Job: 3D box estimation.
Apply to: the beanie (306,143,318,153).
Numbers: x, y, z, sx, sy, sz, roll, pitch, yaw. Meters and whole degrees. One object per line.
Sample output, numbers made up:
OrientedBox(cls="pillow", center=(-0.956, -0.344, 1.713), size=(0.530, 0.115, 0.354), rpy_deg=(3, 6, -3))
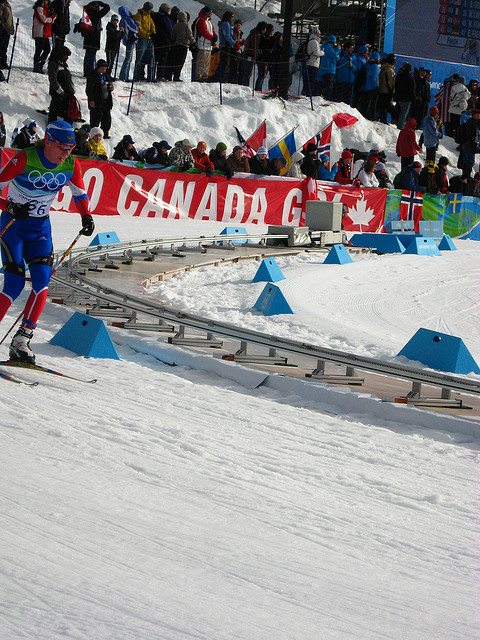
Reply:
OrientedBox(cls="beanie", center=(1.763, -4.233, 18.163), size=(0.194, 0.216, 0.224), rpy_deg=(5, -21, 23))

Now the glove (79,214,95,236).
OrientedBox(cls="glove", center=(-1.193, -0.732, 5.723), size=(0.068, 0.154, 0.124), rpy_deg=(-5, -24, 12))

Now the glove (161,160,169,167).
OrientedBox(cls="glove", center=(-1.541, -3.291, 15.613), size=(0.060, 0.134, 0.147), rpy_deg=(-7, 23, 16))

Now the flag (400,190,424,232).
OrientedBox(cls="flag", center=(4.612, -3.070, 19.895), size=(0.204, 0.760, 0.932), rpy_deg=(20, 16, 39))

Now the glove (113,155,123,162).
OrientedBox(cls="glove", center=(-2.442, -3.272, 15.014), size=(0.189, 0.135, 0.506), rpy_deg=(6, 10, -11))

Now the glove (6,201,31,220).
OrientedBox(cls="glove", center=(-1.506, -0.746, 5.106), size=(0.131, 0.108, 0.182), rpy_deg=(1, 13, -33))

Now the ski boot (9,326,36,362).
OrientedBox(cls="ski boot", center=(-1.571, 0.161, 5.408), size=(0.165, 0.251, 0.204), rpy_deg=(5, 12, -17))

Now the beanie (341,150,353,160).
OrientedBox(cls="beanie", center=(2.669, -4.116, 18.595), size=(0.248, 0.163, 0.225), rpy_deg=(1, 28, 21))

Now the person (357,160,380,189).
OrientedBox(cls="person", center=(3.382, -3.817, 19.457), size=(0.469, 0.637, 0.759), rpy_deg=(12, 12, 17))

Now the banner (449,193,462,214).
OrientedBox(cls="banner", center=(6.051, -3.296, 20.925), size=(0.669, 0.677, 0.081), rpy_deg=(-6, 12, -39))

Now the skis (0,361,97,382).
OrientedBox(cls="skis", center=(-1.414, 0.378, 5.455), size=(0.776, 0.126, 0.088), rpy_deg=(6, 6, 23))

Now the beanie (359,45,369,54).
OrientedBox(cls="beanie", center=(3.975, -8.618, 23.719), size=(0.299, 0.207, 0.396), rpy_deg=(2, 21, 31))

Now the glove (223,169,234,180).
OrientedBox(cls="glove", center=(-0.243, -3.172, 16.171), size=(0.210, 0.213, 0.281), rpy_deg=(9, 11, 4))

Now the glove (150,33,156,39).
OrientedBox(cls="glove", center=(-2.280, -7.486, 19.627), size=(0.086, 0.110, 0.193), rpy_deg=(14, 12, 23))

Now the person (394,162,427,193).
OrientedBox(cls="person", center=(4.691, -3.924, 20.276), size=(0.861, 0.805, 0.855), rpy_deg=(11, 12, 15))

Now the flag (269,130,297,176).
OrientedBox(cls="flag", center=(1.230, -4.508, 19.849), size=(1.059, 0.135, 1.782), rpy_deg=(7, -20, -1))

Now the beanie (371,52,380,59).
OrientedBox(cls="beanie", center=(4.252, -8.312, 23.352), size=(0.270, 0.232, 0.329), rpy_deg=(3, 17, 3))

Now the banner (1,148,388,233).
OrientedBox(cls="banner", center=(-0.083, -2.691, 16.502), size=(8.041, 1.225, 0.792), rpy_deg=(0, 15, -33))

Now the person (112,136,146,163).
OrientedBox(cls="person", center=(-2.229, -3.508, 15.252), size=(0.635, 0.525, 0.877), rpy_deg=(6, 11, -9))

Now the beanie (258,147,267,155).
OrientedBox(cls="beanie", center=(0.549, -3.934, 17.317), size=(0.196, 0.173, 0.198), rpy_deg=(-16, 23, -41))

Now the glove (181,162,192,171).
OrientedBox(cls="glove", center=(-1.110, -3.231, 15.655), size=(0.229, 0.178, 0.065), rpy_deg=(-2, 17, -41))

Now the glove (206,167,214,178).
OrientedBox(cls="glove", center=(-0.610, -3.149, 15.876), size=(0.106, 0.207, 0.282), rpy_deg=(14, 12, 19))

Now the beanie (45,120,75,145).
OrientedBox(cls="beanie", center=(-1.264, -1.329, 5.250), size=(0.215, 0.147, 0.152), rpy_deg=(21, 35, 34))

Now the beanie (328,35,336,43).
OrientedBox(cls="beanie", center=(2.810, -8.525, 22.599), size=(0.247, 0.076, 0.247), rpy_deg=(-37, 34, -26))
